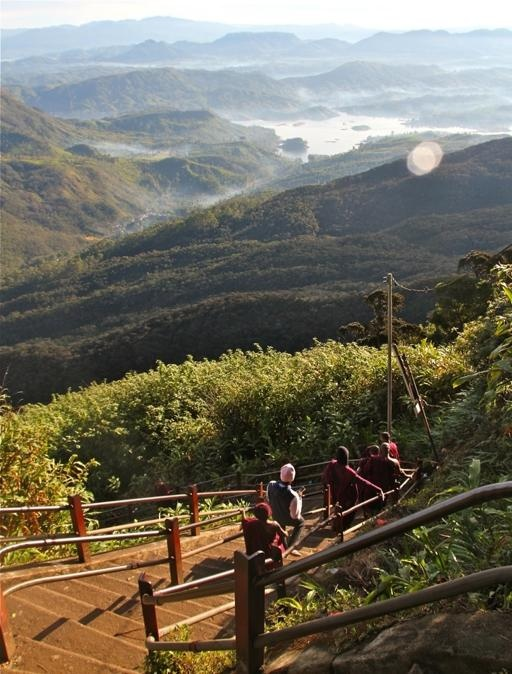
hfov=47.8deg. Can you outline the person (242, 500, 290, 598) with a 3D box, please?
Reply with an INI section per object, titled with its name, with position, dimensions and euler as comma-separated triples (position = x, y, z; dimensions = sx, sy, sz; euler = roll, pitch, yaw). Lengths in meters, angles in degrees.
[person]
position = 0.012, 1.556, 4.302
dimensions = 0.270, 0.730, 0.182
euler = 5, 17, 3
